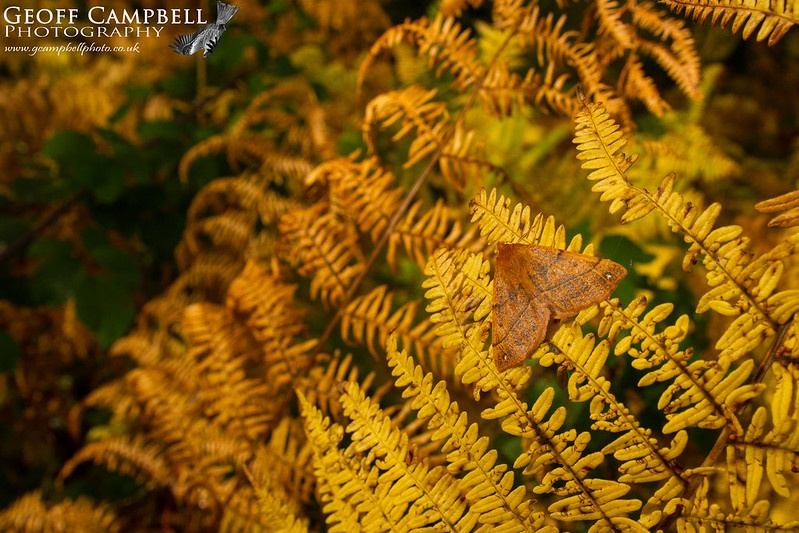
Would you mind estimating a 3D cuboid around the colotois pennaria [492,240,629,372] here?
[{"bbox_3d":[0.626,0.155,4.749,0.501,0.263,0.485,4,70,-5],"label":"colotois pennaria"}]
